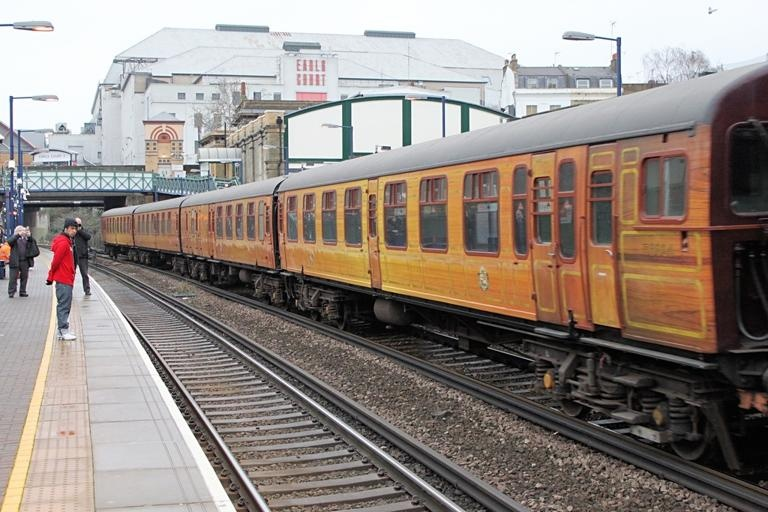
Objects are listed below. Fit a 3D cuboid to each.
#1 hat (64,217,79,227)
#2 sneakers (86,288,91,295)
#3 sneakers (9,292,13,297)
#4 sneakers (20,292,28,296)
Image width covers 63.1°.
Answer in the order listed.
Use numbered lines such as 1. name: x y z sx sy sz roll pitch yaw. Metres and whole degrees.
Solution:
1. hat: -6.988 -0.760 13.982 0.255 0.196 0.335 0 -1 -30
2. sneakers: -10.403 1.224 21.963 0.207 0.250 0.625 1 -5 -27
3. sneakers: -12.480 1.254 20.930 0.166 0.168 0.450 2 -5 -32
4. sneakers: -12.366 1.289 21.539 0.271 0.166 0.090 -5 14 -19
